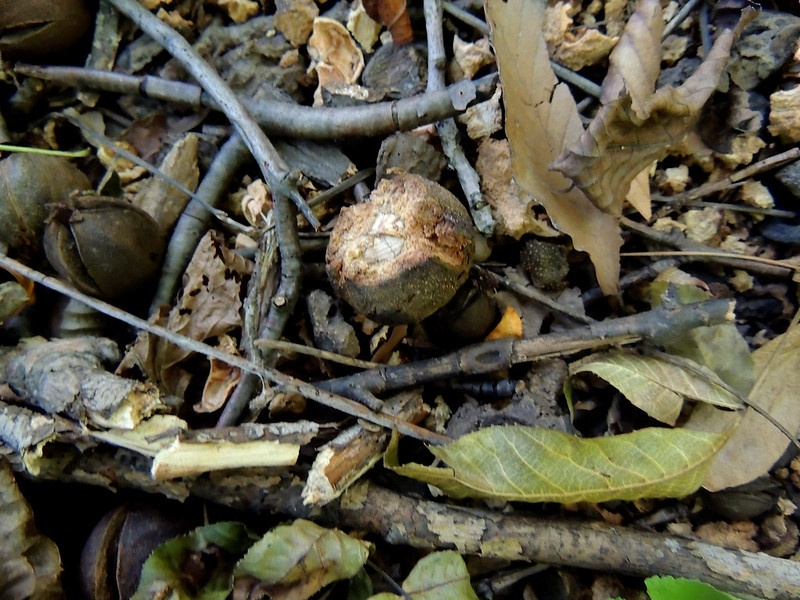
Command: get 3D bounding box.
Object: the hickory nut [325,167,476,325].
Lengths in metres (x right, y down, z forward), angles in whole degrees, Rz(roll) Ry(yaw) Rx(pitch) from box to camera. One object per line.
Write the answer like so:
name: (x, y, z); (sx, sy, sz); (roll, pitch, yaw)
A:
hickory nut: (0.002, -0.144, 2.367); (0.415, 0.192, 0.355); (-27, 70, -6)

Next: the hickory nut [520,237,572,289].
hickory nut: (0.427, -0.107, 2.551); (0.116, 0.051, 0.156); (-1, 95, 3)

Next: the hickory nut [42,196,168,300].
hickory nut: (-0.845, -0.148, 2.491); (0.298, 0.281, 0.220); (-20, 67, -4)
